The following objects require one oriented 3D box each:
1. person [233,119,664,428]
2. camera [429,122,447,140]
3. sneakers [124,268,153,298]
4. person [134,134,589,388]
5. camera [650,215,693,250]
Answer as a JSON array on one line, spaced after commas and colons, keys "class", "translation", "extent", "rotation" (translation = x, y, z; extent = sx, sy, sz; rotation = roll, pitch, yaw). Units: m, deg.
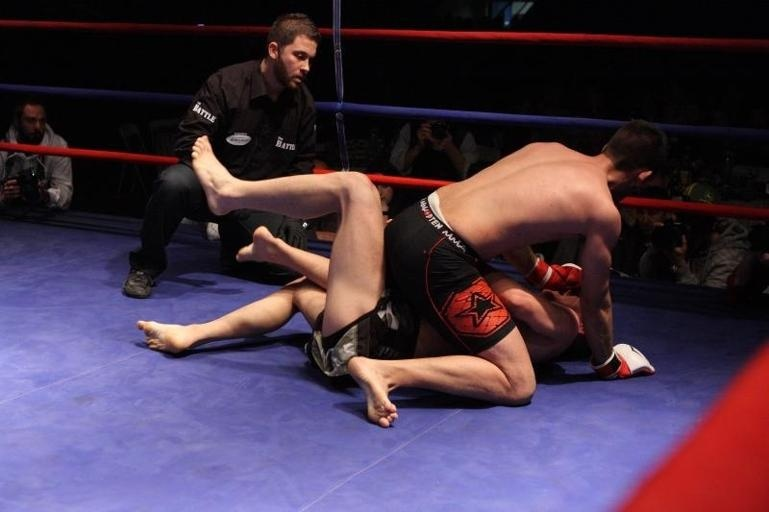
[{"class": "person", "translation": [0.380, -0.008, 2.340], "extent": [1.539, 0.786, 0.898], "rotation": [-10, 30, -13]}, {"class": "camera", "translation": [0.325, -0.764, 3.909], "extent": [0.117, 0.088, 0.108], "rotation": [2, -9, -21]}, {"class": "sneakers", "translation": [-1.054, 0.126, 2.762], "extent": [0.092, 0.062, 0.156], "rotation": [6, 9, -22]}, {"class": "person", "translation": [-0.031, 0.111, 2.364], "extent": [1.715, 0.703, 0.648], "rotation": [5, 3, -21]}, {"class": "camera", "translation": [1.535, -0.123, 3.455], "extent": [0.207, 0.120, 0.196], "rotation": [10, 21, 35]}]
